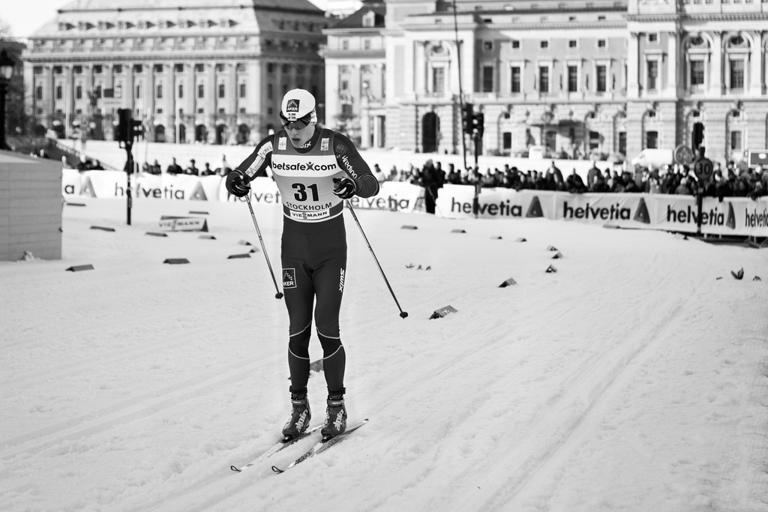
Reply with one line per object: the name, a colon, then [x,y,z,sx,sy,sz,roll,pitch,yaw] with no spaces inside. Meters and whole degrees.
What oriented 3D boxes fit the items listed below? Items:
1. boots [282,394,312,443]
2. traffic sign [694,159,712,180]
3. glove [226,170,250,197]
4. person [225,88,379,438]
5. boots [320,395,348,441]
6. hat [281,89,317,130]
boots: [-0.784,1.398,8.383,0.127,0.324,0.444,-4,13,22]
traffic sign: [9.155,-2.493,26.704,0.474,0.594,0.743,3,8,19]
glove: [-1.315,-0.643,8.316,0.207,0.239,0.355,0,8,-11]
person: [-0.679,0.066,8.291,1.206,3.052,0.674,1,6,-2]
boots: [-0.457,1.411,8.402,0.139,0.319,0.423,-3,10,20]
hat: [-0.755,-1.293,8.196,0.229,0.308,0.352,-1,-22,2]
